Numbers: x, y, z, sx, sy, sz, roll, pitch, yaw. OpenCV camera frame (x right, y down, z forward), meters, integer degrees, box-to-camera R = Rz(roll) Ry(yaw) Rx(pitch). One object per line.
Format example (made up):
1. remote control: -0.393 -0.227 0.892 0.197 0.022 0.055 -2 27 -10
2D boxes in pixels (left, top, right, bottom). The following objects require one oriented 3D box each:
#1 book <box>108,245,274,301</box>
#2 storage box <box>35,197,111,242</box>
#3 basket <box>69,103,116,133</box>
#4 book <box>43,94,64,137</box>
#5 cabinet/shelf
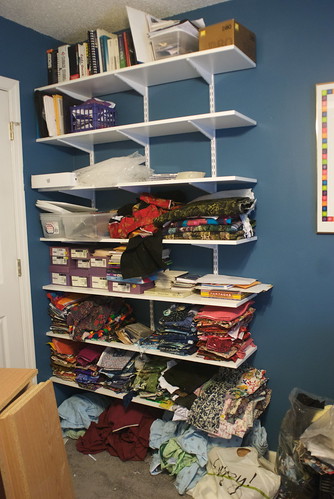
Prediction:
1. book: 0.117 0.122 2.192 0.851 0.305 0.384 0 8 32
2. storage box: -0.579 -0.160 2.413 0.297 0.178 0.368 3 1 17
3. basket: -0.479 -0.833 2.546 0.326 0.154 0.322 12 22 28
4. book: -0.718 -0.856 2.525 0.076 0.236 0.178 -1 13 -2
5. cabinet/shelf: -0.135 -0.247 2.327 1.289 1.570 0.455 0 8 32
